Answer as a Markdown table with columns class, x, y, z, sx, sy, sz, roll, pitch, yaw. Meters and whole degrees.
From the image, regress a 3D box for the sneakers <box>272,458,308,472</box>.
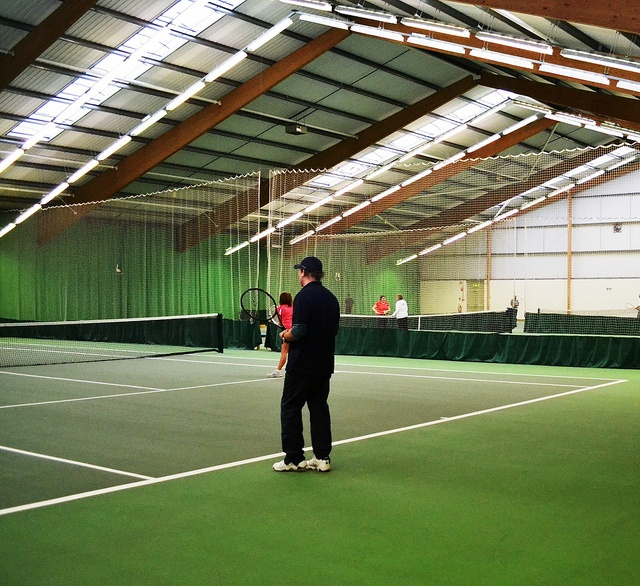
| class | x | y | z | sx | sy | sz | roll | pitch | yaw |
| --- | --- | --- | --- | --- | --- | --- | --- | --- | --- |
| sneakers | -0.273 | 1.567 | 5.140 | 0.294 | 0.103 | 0.104 | 3 | -10 | 5 |

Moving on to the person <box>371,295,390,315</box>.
| class | x | y | z | sx | sy | sz | roll | pitch | yaw |
| --- | --- | --- | --- | --- | --- | --- | --- | --- | --- |
| person | 2.105 | 0.399 | 19.538 | 0.296 | 0.687 | 0.971 | 2 | -3 | 25 |

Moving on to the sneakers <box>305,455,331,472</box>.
| class | x | y | z | sx | sy | sz | roll | pitch | yaw |
| --- | --- | --- | --- | --- | --- | --- | --- | --- | --- |
| sneakers | -0.019 | 1.555 | 5.160 | 0.102 | 0.084 | 0.221 | 3 | -2 | -41 |

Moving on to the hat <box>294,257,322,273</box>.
| class | x | y | z | sx | sy | sz | roll | pitch | yaw |
| --- | --- | --- | --- | --- | --- | --- | --- | --- | --- |
| hat | -0.119 | -0.267 | 5.190 | 0.226 | 0.093 | 0.155 | 2 | 1 | 38 |

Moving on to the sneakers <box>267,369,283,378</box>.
| class | x | y | z | sx | sy | sz | roll | pitch | yaw |
| --- | --- | --- | --- | --- | --- | --- | --- | --- | --- |
| sneakers | -0.881 | 1.663 | 11.635 | 0.357 | 0.127 | 0.124 | 7 | -10 | -37 |

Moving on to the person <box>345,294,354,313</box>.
| class | x | y | z | sx | sy | sz | roll | pitch | yaw |
| --- | --- | --- | --- | --- | --- | --- | --- | --- | --- |
| person | 0.971 | 0.379 | 19.189 | 0.318 | 0.631 | 0.228 | 3 | -3 | 11 |

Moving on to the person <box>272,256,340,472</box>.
| class | x | y | z | sx | sy | sz | roll | pitch | yaw |
| --- | --- | --- | --- | --- | --- | --- | --- | --- | --- |
| person | -0.122 | 0.635 | 5.120 | 0.574 | 1.940 | 0.330 | 6 | -3 | -39 |

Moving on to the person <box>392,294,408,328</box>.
| class | x | y | z | sx | sy | sz | roll | pitch | yaw |
| --- | --- | --- | --- | --- | --- | --- | --- | --- | --- |
| person | 2.594 | 0.587 | 18.501 | 0.467 | 1.130 | 1.546 | 3 | -3 | 8 |
